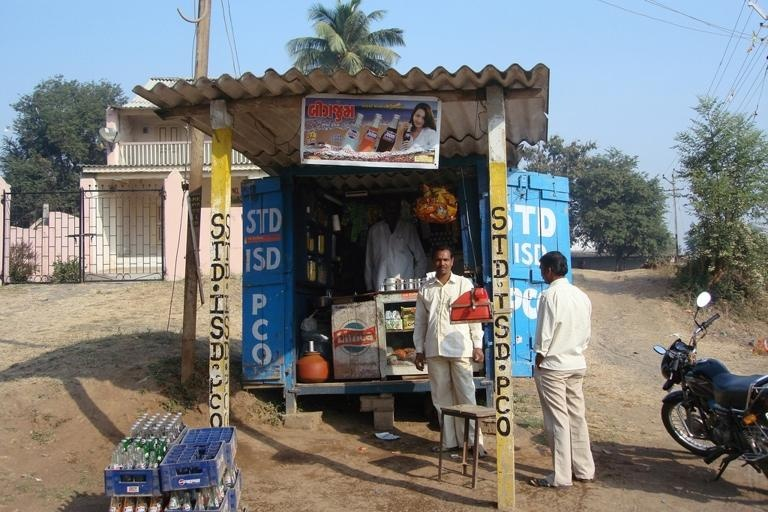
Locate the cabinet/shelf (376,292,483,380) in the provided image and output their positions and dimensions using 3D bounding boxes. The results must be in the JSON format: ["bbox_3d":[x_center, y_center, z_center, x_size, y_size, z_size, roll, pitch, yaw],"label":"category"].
[{"bbox_3d":[0.833,1.455,13.770,1.495,1.596,0.549,-2,-7,5],"label":"cabinet/shelf"}]

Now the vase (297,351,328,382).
[{"bbox_3d":[-1.384,2.151,14.910,0.523,0.495,0.550,0,-8,-2],"label":"vase"}]

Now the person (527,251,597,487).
[{"bbox_3d":[2.939,1.849,12.593,1.034,3.677,1.129,1,12,-3],"label":"person"}]

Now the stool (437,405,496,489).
[{"bbox_3d":[1.401,3.156,12.808,1.074,1.209,1.177,3,-2,8],"label":"stool"}]
